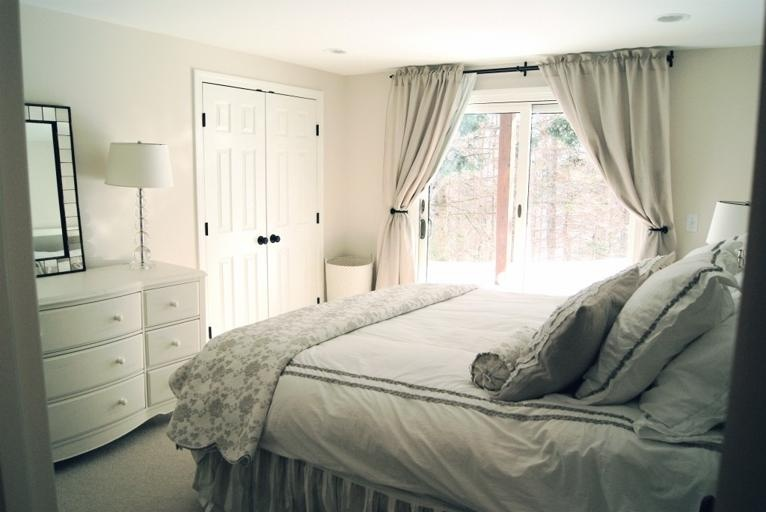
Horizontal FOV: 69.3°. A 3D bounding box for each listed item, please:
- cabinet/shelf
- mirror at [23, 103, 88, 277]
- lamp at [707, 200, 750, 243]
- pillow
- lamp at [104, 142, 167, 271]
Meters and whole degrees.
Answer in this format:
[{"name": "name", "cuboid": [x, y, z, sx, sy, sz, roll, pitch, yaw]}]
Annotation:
[{"name": "cabinet/shelf", "cuboid": [-1.543, 0.647, 3.239, 0.600, 0.910, 1.084, 4, 8, 34]}, {"name": "mirror", "cuboid": [-2.176, -0.437, 3.652, 0.130, 1.122, 0.337, 2, 8, 30]}, {"name": "lamp", "cuboid": [2.239, -0.213, 3.616, 0.205, 0.274, 0.453, 1, 7, 29]}, {"name": "pillow", "cuboid": [1.120, 0.366, 2.288, 0.536, 0.654, 0.434, 3, 8, 39]}, {"name": "lamp", "cuboid": [-1.722, -0.367, 3.962, 0.414, 0.889, 0.426, -6, 8, -27]}]
